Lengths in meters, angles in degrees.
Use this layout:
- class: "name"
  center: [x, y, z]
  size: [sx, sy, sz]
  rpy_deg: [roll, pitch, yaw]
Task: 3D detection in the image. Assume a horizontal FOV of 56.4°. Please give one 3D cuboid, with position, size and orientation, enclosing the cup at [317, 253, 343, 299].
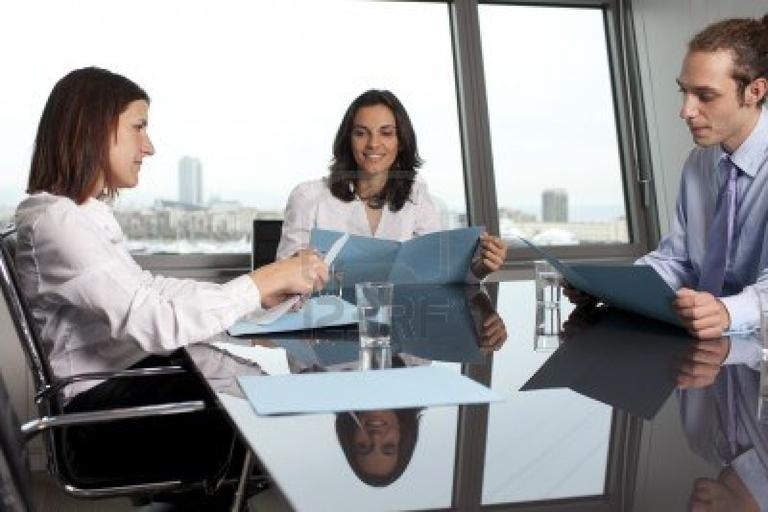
- class: "cup"
  center: [-0.143, 0.062, 2.020]
  size: [0.092, 0.096, 0.059]
  rpy_deg: [-1, -8, -3]

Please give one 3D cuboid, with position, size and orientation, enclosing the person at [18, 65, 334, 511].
- class: "person"
  center: [-0.728, 0.048, 2.851]
  size: [1.113, 1.978, 0.933]
  rpy_deg: [-5, 0, -22]

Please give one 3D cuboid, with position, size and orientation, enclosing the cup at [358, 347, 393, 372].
- class: "cup"
  center: [-0.021, 0.249, 1.693]
  size: [0.063, 0.061, 0.035]
  rpy_deg: [2, 1, 20]
